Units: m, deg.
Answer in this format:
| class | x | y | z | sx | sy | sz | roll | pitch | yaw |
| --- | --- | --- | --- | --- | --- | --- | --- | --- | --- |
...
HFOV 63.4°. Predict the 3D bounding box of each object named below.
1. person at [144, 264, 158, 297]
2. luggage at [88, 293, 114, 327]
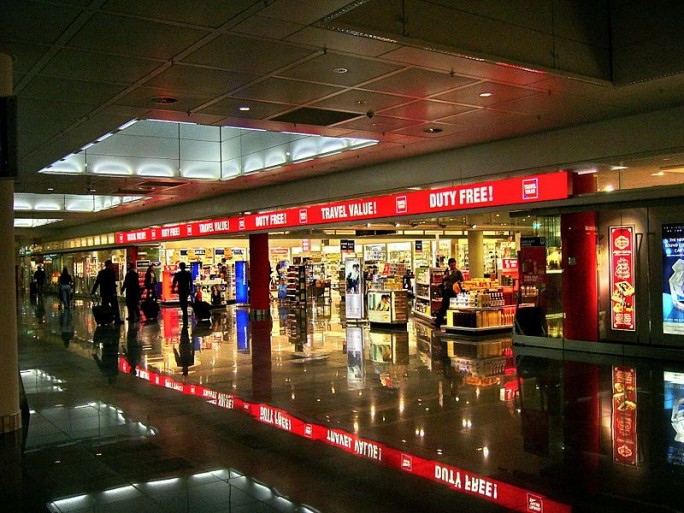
| class | x | y | z | sx | sy | sz | roll | pitch | yaw |
| --- | --- | --- | --- | --- | --- | --- | --- | --- | --- |
| person | -6.663 | 0.871 | 19.349 | 0.324 | 1.176 | 1.283 | -2 | 2 | -20 |
| luggage | -6.666 | 1.637 | 15.529 | 0.517 | 0.563 | 0.675 | -1 | 2 | -20 |
